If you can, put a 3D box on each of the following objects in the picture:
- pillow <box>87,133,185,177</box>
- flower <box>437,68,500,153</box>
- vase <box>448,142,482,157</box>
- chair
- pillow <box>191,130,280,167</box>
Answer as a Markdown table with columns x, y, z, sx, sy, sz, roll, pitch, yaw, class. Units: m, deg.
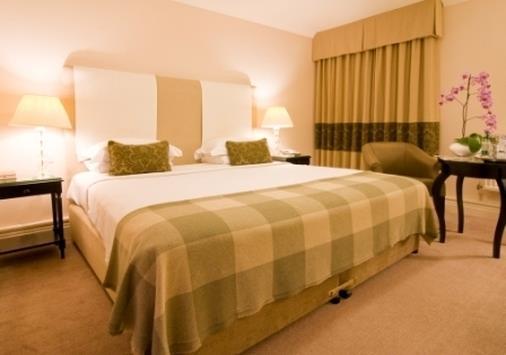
| x | y | z | sx | sy | sz | roll | pitch | yaw | class |
| --- | --- | --- | --- | --- | --- | --- | --- | --- | --- |
| -1.417 | -0.258 | 3.983 | 0.625 | 0.198 | 0.535 | -10 | 17 | -40 | pillow |
| 2.498 | -0.769 | 4.147 | 0.632 | 0.971 | 1.235 | 4 | 9 | 27 | flower |
| 2.176 | -0.286 | 3.770 | 0.191 | 0.097 | 0.193 | -4 | 10 | -26 | vase |
| 1.775 | 0.032 | 4.358 | 0.768 | 0.975 | 0.822 | 0 | -3 | -13 | chair |
| -0.200 | -0.394 | 4.697 | 0.808 | 0.258 | 0.586 | -3 | 6 | -38 | pillow |
